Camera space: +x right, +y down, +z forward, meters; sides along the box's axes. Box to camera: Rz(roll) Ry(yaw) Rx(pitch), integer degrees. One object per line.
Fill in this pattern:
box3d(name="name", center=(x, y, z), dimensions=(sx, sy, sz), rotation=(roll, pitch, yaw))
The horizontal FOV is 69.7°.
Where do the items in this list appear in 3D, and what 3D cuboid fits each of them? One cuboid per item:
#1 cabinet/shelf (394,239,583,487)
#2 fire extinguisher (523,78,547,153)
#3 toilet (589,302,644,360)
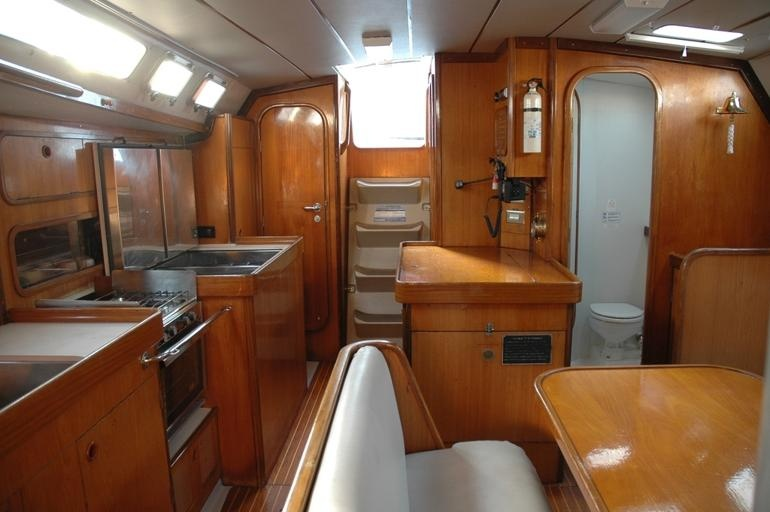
box3d(name="cabinet/shelf", center=(0.637, 0.623, 3.979), dimensions=(1.400, 1.888, 1.307), rotation=(1, 15, 2))
box3d(name="fire extinguisher", center=(0.995, -0.937, 3.696), dimensions=(0.139, 0.493, 0.189), rotation=(2, 10, 16))
box3d(name="toilet", center=(1.756, 0.553, 4.161), dimensions=(0.417, 0.352, 0.371), rotation=(-5, 14, 25))
